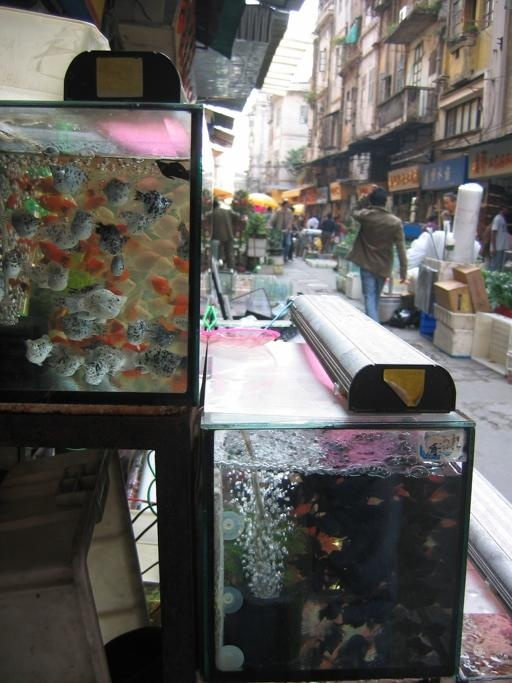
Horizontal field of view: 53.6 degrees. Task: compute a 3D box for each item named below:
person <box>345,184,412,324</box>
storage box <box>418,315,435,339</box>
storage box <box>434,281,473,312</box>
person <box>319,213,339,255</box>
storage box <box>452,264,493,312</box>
[{"bbox_3d":[1.508,-1.065,6.221,0.695,1.596,0.506,5,14,11],"label":"person"},{"bbox_3d":[2.260,-0.223,6.677,0.180,0.293,0.209,6,15,16],"label":"storage box"},{"bbox_3d":[2.182,-0.587,5.666,0.312,0.381,0.571,-11,20,4],"label":"storage box"},{"bbox_3d":[2.763,-4.053,19.247,0.611,1.229,1.611,4,14,7],"label":"person"},{"bbox_3d":[2.385,-0.576,5.607,0.195,0.572,0.520,-17,8,-2],"label":"storage box"}]
